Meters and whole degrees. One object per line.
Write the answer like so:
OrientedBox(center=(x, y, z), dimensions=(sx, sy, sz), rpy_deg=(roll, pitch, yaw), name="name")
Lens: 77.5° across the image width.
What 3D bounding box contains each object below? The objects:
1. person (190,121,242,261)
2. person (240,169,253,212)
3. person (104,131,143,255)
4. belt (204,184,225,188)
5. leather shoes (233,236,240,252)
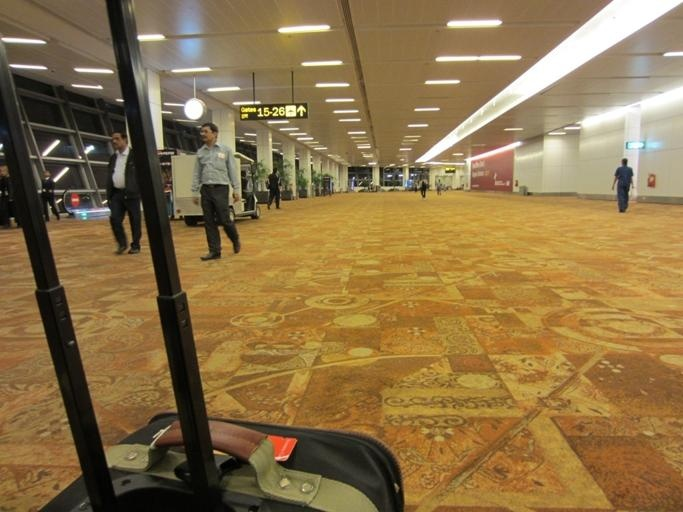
OrientedBox(center=(-1.794, -0.929, 6.074), dimensions=(0.646, 1.902, 0.572), rpy_deg=(-3, 9, -15), name="person")
OrientedBox(center=(-2.940, -1.936, 13.343), dimensions=(0.399, 1.028, 1.332), rpy_deg=(-3, 9, -13), name="person")
OrientedBox(center=(-3.314, -0.930, 6.414), dimensions=(0.437, 1.828, 0.870), rpy_deg=(-5, 10, -27), name="person")
OrientedBox(center=(-1.804, -0.991, 6.052), dimensions=(0.277, 0.047, 0.062), rpy_deg=(-3, 9, -15), name="belt")
OrientedBox(center=(-1.595, -0.162, 6.385), dimensions=(0.081, 0.213, 0.090), rpy_deg=(-3, 11, 18), name="leather shoes")
